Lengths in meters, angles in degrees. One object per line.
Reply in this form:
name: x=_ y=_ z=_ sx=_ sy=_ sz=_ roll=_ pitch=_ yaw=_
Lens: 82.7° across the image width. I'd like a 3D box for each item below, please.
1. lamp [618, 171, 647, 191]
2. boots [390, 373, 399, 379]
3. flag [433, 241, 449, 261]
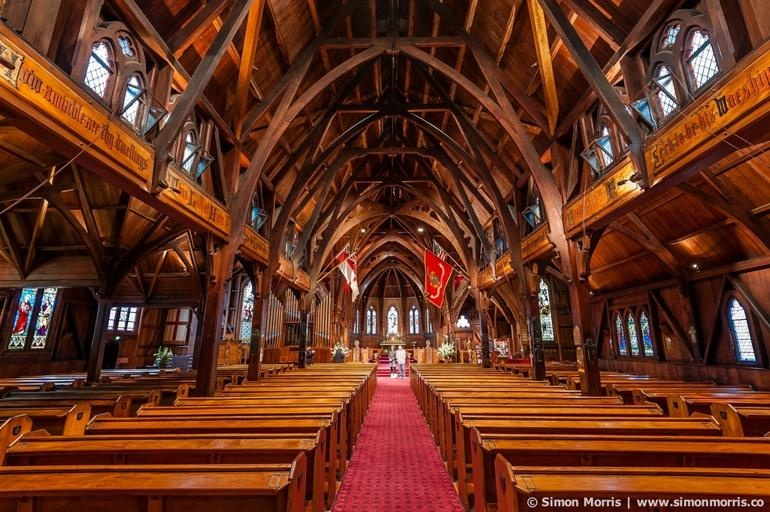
lamp: x=4.512 y=-1.308 z=7.942 sx=0.242 sy=0.415 sz=0.620 roll=-2 pitch=-18 yaw=6
boots: x=0.449 y=5.684 z=20.494 sx=0.349 sy=0.290 sz=0.372 roll=1 pitch=-18 yaw=9
flag: x=2.486 y=-0.203 z=19.603 sx=0.058 sy=0.562 sz=0.855 roll=31 pitch=-4 yaw=44
